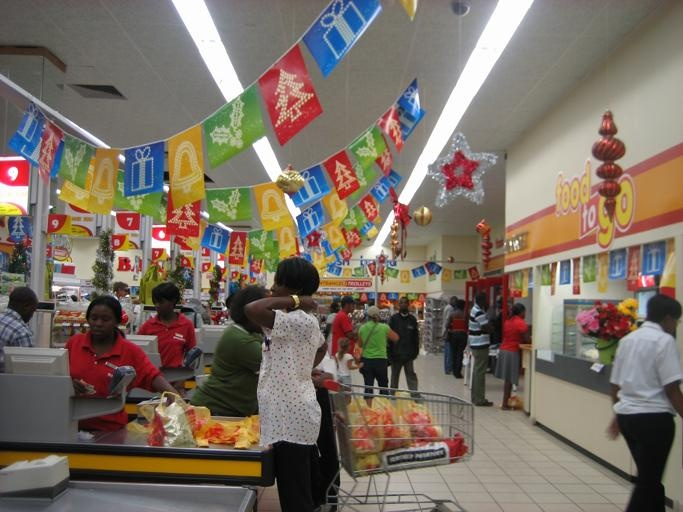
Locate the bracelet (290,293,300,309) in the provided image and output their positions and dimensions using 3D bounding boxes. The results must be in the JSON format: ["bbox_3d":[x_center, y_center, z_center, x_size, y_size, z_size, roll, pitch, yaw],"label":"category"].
[{"bbox_3d":[-0.262,0.264,2.833,0.027,0.071,0.052,0,-1,-12],"label":"bracelet"}]

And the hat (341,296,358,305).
[{"bbox_3d":[0.184,0.791,8.904,0.268,0.156,0.197,-24,17,-34],"label":"hat"}]

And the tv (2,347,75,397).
[{"bbox_3d":[-1.923,0.742,3.141,0.237,0.243,0.127,5,28,-6],"label":"tv"}]

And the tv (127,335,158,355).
[{"bbox_3d":[-1.735,0.776,4.340,0.237,0.218,0.087,4,22,-2],"label":"tv"}]

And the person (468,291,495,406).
[{"bbox_3d":[2.546,1.672,9.016,0.415,2.014,1.060,0,-5,17],"label":"person"}]

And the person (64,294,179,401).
[{"bbox_3d":[-1.853,0.787,4.308,0.995,1.294,0.434,3,-5,-7],"label":"person"}]

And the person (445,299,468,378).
[{"bbox_3d":[2.838,2.034,12.117,0.504,1.911,0.907,1,-4,10],"label":"person"}]
